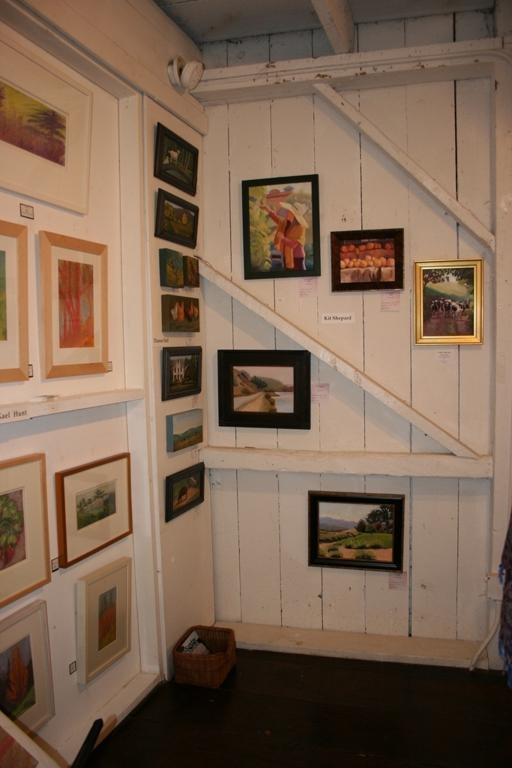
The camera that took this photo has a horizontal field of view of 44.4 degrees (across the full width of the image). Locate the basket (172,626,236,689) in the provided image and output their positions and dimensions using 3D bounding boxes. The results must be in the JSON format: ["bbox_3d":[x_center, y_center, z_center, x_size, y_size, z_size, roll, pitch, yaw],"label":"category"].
[{"bbox_3d":[-0.211,1.122,2.580,0.180,0.105,0.212,1,-2,9],"label":"basket"}]

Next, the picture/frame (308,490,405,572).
[{"bbox_3d":[0.478,0.651,2.853,0.334,0.326,0.029,0,2,15],"label":"picture/frame"}]

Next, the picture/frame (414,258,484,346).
[{"bbox_3d":[0.830,-0.354,2.686,0.280,0.412,0.026,1,38,20],"label":"picture/frame"}]

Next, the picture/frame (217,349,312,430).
[{"bbox_3d":[0.059,0.012,2.902,0.317,0.311,0.028,1,5,15],"label":"picture/frame"}]
